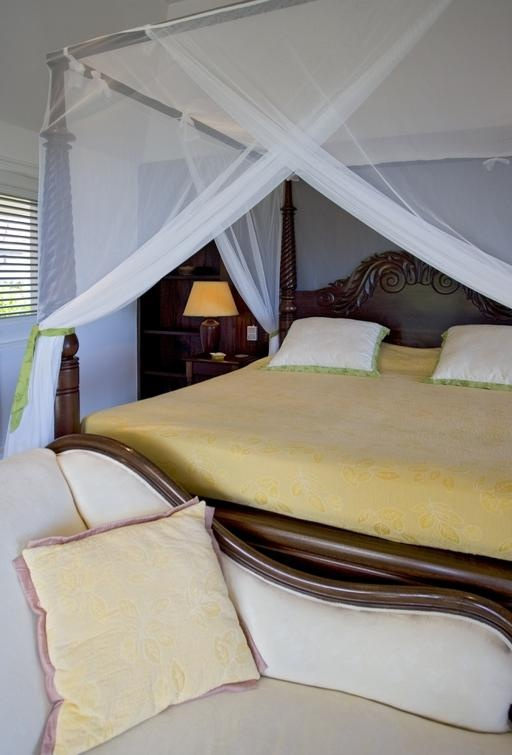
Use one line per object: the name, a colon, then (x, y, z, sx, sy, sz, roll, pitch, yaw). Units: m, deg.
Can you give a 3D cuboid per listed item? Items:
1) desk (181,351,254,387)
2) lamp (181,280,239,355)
desk: (-0.259, -0.129, 3.939, 0.336, 0.304, 0.271, 6, 12, 32)
lamp: (-0.246, -0.462, 4.156, 0.511, 0.607, 0.502, -2, 11, -1)
